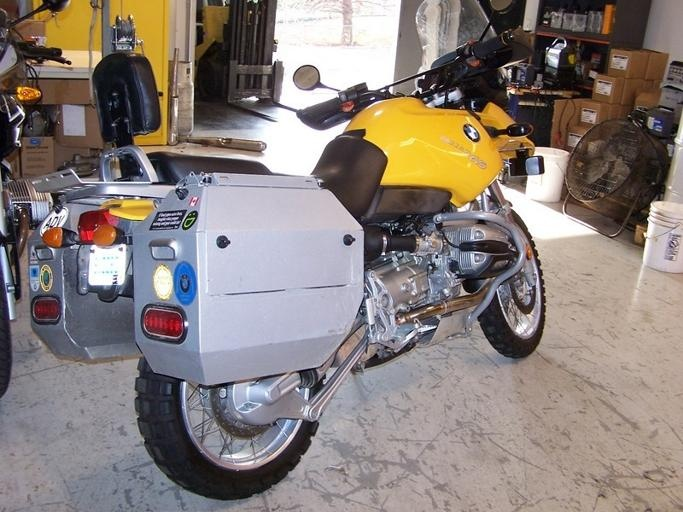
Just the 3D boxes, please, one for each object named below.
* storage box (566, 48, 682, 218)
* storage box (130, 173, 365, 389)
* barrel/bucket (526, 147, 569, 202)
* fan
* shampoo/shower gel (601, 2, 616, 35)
[{"bbox_3d":[2.754,-1.050,4.976,0.921,1.088,0.936,-6,24,-44],"label":"storage box"},{"bbox_3d":[-0.288,0.056,1.667,0.395,0.566,0.654,3,4,42],"label":"storage box"},{"bbox_3d":[2.109,-0.862,5.550,0.491,0.483,0.441,-19,30,-35],"label":"barrel/bucket"},{"bbox_3d":[2.568,-0.838,4.976,0.792,0.894,0.741,30,-7,32],"label":"fan"},{"bbox_3d":[3.067,-2.729,5.903,0.128,0.339,0.213,9,21,21],"label":"shampoo/shower gel"}]
